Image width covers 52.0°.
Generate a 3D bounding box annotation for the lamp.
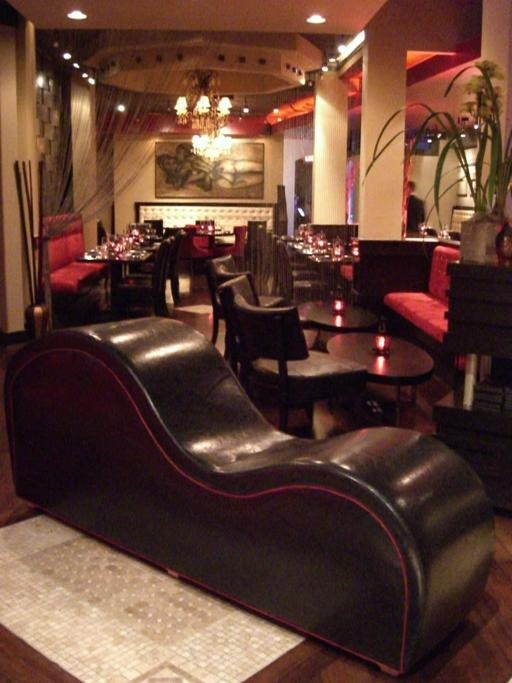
[{"bbox_3d":[-0.764,-3.422,7.532,0.669,1.104,0.688,1,7,-36],"label":"lamp"}]
